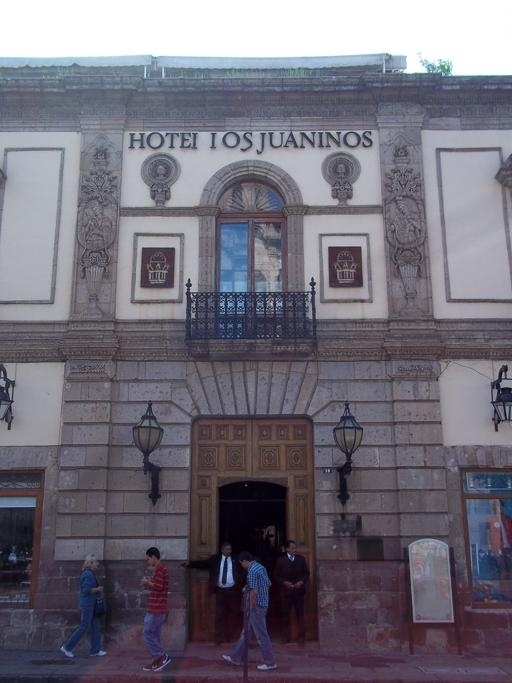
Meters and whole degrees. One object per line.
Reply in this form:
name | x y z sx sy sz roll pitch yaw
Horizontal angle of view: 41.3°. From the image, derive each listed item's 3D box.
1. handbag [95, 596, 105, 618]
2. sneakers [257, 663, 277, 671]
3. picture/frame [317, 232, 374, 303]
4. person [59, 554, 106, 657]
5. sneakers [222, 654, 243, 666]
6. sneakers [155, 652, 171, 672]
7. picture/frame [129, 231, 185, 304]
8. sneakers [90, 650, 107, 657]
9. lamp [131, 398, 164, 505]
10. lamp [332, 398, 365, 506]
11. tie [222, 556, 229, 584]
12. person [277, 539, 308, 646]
handbag | -2.455 4.140 10.612 0.122 0.330 0.341 -4 -21 -3
sneakers | 0.146 4.600 9.596 0.277 0.114 0.102 6 -18 -4
picture/frame | 1.711 -1.356 12.959 1.355 1.822 0.138 0 -21 0
person | -2.684 4.178 10.758 0.629 1.513 0.898 2 -14 -12
sneakers | -0.370 4.672 9.948 0.338 0.138 0.116 4 -9 39
sneakers | -1.328 4.562 9.707 0.162 0.216 0.527 -2 -14 7
picture/frame | -1.907 -1.360 12.995 1.329 1.860 0.188 -1 -20 0
sneakers | -2.470 4.892 10.637 0.233 0.101 0.090 4 -3 -23
lamp | -1.843 1.906 11.578 0.434 1.710 0.886 -1 -14 0
lamp | 1.566 1.905 11.601 0.443 1.785 0.954 -2 -14 5
tie | -0.498 3.821 11.280 0.193 0.360 0.129 0 -14 -3
person | 0.616 4.232 11.458 0.534 1.681 0.763 -2 -14 3
